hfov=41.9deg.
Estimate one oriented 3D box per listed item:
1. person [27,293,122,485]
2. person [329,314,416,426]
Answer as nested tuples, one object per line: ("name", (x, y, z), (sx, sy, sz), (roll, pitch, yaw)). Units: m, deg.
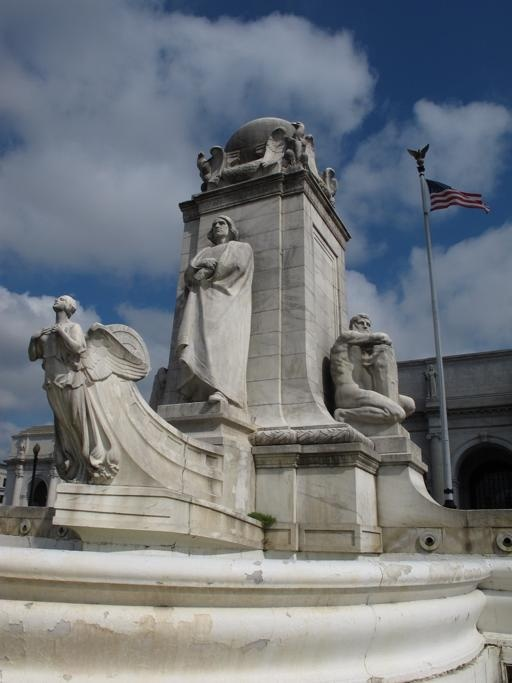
("person", (-2.099, 0.584, 7.804), (1.345, 2.194, 0.638), (11, -5, 35))
("person", (1.884, 0.627, 11.400), (1.189, 1.551, 1.429), (13, -4, -1))
